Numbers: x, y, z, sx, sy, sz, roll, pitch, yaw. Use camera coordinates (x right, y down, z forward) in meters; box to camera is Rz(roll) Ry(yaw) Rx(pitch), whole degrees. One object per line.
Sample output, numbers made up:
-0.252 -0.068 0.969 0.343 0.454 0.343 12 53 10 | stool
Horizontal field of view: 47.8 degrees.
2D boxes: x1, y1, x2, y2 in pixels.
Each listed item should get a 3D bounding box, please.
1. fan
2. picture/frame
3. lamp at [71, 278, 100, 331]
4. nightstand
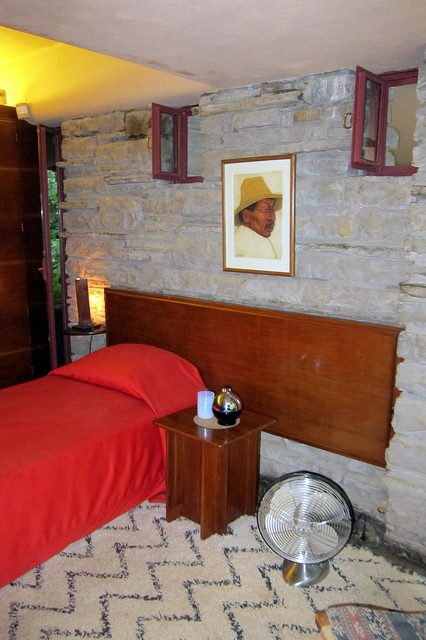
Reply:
0.363 0.784 1.921 0.376 0.320 0.135 5 9 36 | fan
0.240 -0.549 2.423 0.581 0.698 0.033 15 28 41 | picture/frame
-0.929 -0.119 3.529 0.153 0.357 0.280 -2 7 -14 | lamp
0.012 0.666 2.521 0.568 0.596 0.518 13 19 40 | nightstand
